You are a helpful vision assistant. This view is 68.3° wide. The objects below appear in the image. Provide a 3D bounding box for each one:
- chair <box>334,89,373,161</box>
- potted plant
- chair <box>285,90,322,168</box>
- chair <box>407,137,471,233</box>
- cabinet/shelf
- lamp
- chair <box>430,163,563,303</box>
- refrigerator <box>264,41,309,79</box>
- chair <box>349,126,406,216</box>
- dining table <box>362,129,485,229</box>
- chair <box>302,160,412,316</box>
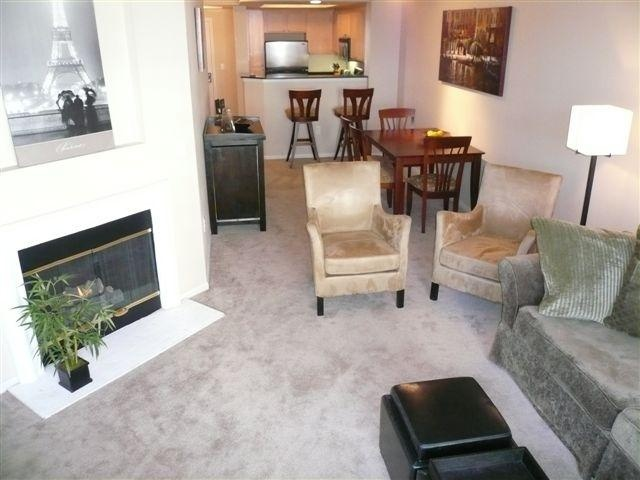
[{"bbox_3d":[0.513,-1.752,7.134,0.521,1.189,0.551,-9,31,-17],"label":"chair"},{"bbox_3d":[-1.579,0.609,2.955,0.416,0.677,0.498,-12,4,-41],"label":"potted plant"},{"bbox_3d":[-0.264,-1.719,7.149,0.560,1.109,0.833,-2,21,-2],"label":"chair"},{"bbox_3d":[1.220,-0.631,4.986,0.515,0.998,0.616,-2,22,0],"label":"chair"},{"bbox_3d":[-1.014,-0.780,5.538,0.687,1.087,1.428,-4,17,-11],"label":"cabinet/shelf"},{"bbox_3d":[2.021,-0.545,3.435,0.425,0.855,0.349,-2,21,-2],"label":"lamp"},{"bbox_3d":[1.405,-0.001,3.727,0.862,1.044,0.819,-9,21,-30],"label":"chair"},{"bbox_3d":[-0.767,-3.703,9.507,0.999,0.703,0.571,-15,37,-30],"label":"refrigerator"},{"bbox_3d":[0.612,-0.832,5.444,0.518,0.870,0.578,-3,23,-13],"label":"chair"},{"bbox_3d":[1.140,-0.674,5.299,0.948,0.774,1.326,-3,28,-7],"label":"dining table"},{"bbox_3d":[0.289,-0.040,3.844,0.789,1.058,0.757,-2,21,-4],"label":"chair"}]
